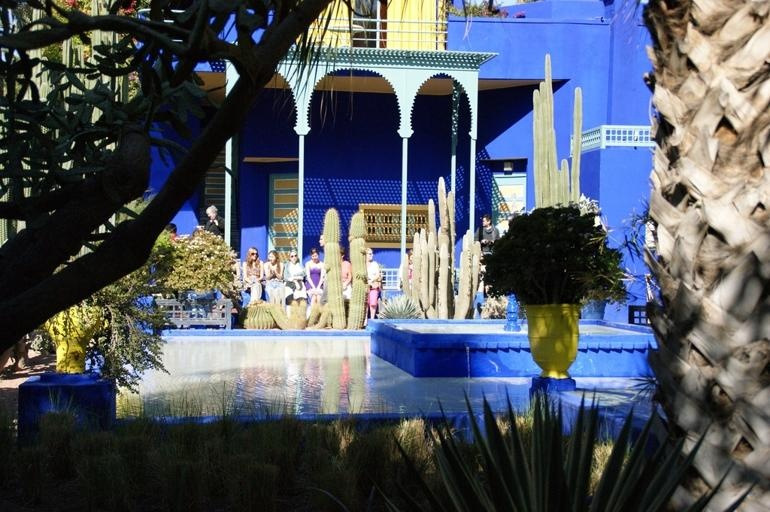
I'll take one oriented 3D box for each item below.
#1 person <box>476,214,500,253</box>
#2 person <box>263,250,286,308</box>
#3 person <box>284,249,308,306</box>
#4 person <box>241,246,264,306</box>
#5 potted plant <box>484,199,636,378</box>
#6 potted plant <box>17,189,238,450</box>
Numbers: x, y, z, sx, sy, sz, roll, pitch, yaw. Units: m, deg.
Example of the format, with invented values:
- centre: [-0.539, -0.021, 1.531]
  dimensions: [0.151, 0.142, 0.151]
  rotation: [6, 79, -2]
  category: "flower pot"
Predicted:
- centre: [1.712, -0.321, 15.421]
  dimensions: [0.415, 0.850, 0.275]
  rotation: [4, 35, 12]
  category: "person"
- centre: [-1.818, 0.364, 14.749]
  dimensions: [0.343, 0.949, 0.925]
  rotation: [1, -2, -8]
  category: "person"
- centre: [-1.472, 0.362, 14.695]
  dimensions: [0.377, 0.878, 0.700]
  rotation: [1, -2, -6]
  category: "person"
- centre: [-2.161, 0.279, 14.668]
  dimensions: [0.323, 0.832, 0.492]
  rotation: [1, -2, -1]
  category: "person"
- centre: [1.229, 0.290, 6.854]
  dimensions: [0.925, 1.325, 0.654]
  rotation: [0, -2, 22]
  category: "potted plant"
- centre: [-1.633, 0.490, 5.839]
  dimensions: [1.576, 1.296, 1.366]
  rotation: [-22, -15, 5]
  category: "potted plant"
